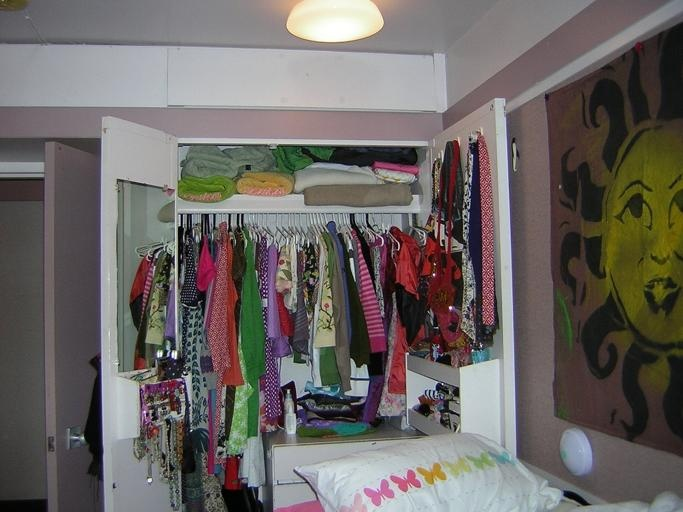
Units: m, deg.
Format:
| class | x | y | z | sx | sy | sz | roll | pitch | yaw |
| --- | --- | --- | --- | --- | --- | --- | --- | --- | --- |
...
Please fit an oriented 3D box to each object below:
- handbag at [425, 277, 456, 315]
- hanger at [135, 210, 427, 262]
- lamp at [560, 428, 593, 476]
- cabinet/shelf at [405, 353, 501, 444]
| class | x | y | z | sx | sy | sz | roll | pitch | yaw |
| --- | --- | --- | --- | --- | --- | --- | --- | --- | --- |
| handbag | 0.513 | 0.216 | 3.051 | 0.052 | 0.163 | 0.147 | 3 | 6 | -32 |
| hanger | -0.386 | -0.110 | 3.536 | 1.372 | 0.232 | 0.118 | 1 | 3 | -6 |
| lamp | 1.057 | 0.895 | 2.629 | 0.069 | 0.225 | 0.147 | -1 | -5 | -13 |
| cabinet/shelf | 0.599 | 0.758 | 3.149 | 0.243 | 0.426 | 0.635 | 0 | -5 | -20 |
